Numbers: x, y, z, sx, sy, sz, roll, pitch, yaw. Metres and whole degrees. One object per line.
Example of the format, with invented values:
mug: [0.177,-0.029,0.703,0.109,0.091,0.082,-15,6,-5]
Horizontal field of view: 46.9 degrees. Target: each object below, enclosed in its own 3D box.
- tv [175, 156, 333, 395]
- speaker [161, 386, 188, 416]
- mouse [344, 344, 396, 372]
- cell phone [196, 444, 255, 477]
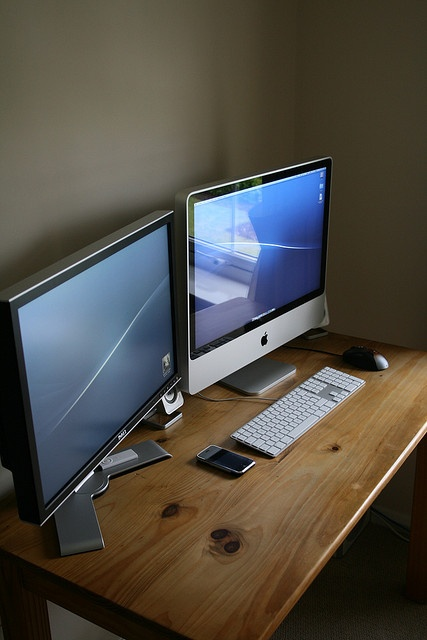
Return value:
tv: [0.091,-0.101,1.153,0.118,0.445,0.484,16,35,30]
speaker: [-0.088,0.176,1.076,0.038,0.075,0.053,1,25,23]
mouse: [0.418,0.087,1.325,0.057,0.036,0.095,-21,31,-36]
cell phone: [0.022,0.258,0.917,0.074,0.011,0.046,15,20,27]
